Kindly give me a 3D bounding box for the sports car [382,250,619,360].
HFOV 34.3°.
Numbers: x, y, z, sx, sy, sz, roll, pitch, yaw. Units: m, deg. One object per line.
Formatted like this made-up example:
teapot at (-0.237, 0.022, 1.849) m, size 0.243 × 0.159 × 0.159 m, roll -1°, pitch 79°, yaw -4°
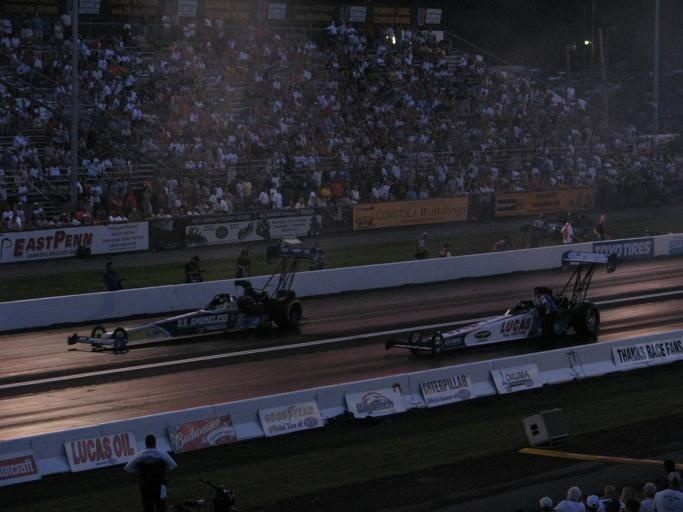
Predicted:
sports car at (6.088, 2.027, 38.533) m, size 7.346 × 2.217 × 0.953 m, roll -5°, pitch 6°, yaw -20°
